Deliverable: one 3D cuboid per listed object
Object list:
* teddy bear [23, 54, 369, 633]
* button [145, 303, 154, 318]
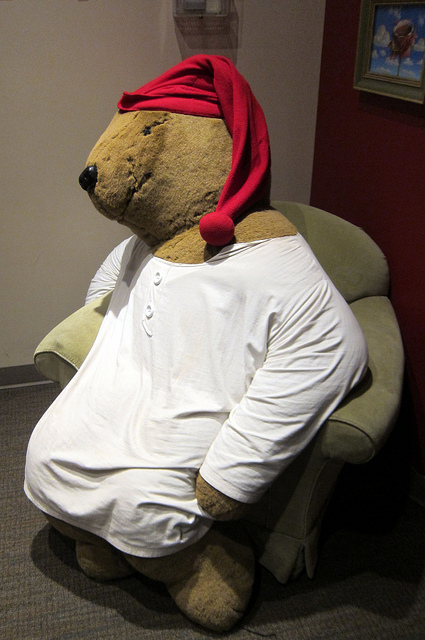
[{"bbox_3d":[-0.064,0.068,1.193,0.626,1.103,0.570,23,35,33],"label":"teddy bear"},{"bbox_3d":[-0.129,-0.021,1.190,0.010,0.026,0.024,5,-3,-45],"label":"button"}]
